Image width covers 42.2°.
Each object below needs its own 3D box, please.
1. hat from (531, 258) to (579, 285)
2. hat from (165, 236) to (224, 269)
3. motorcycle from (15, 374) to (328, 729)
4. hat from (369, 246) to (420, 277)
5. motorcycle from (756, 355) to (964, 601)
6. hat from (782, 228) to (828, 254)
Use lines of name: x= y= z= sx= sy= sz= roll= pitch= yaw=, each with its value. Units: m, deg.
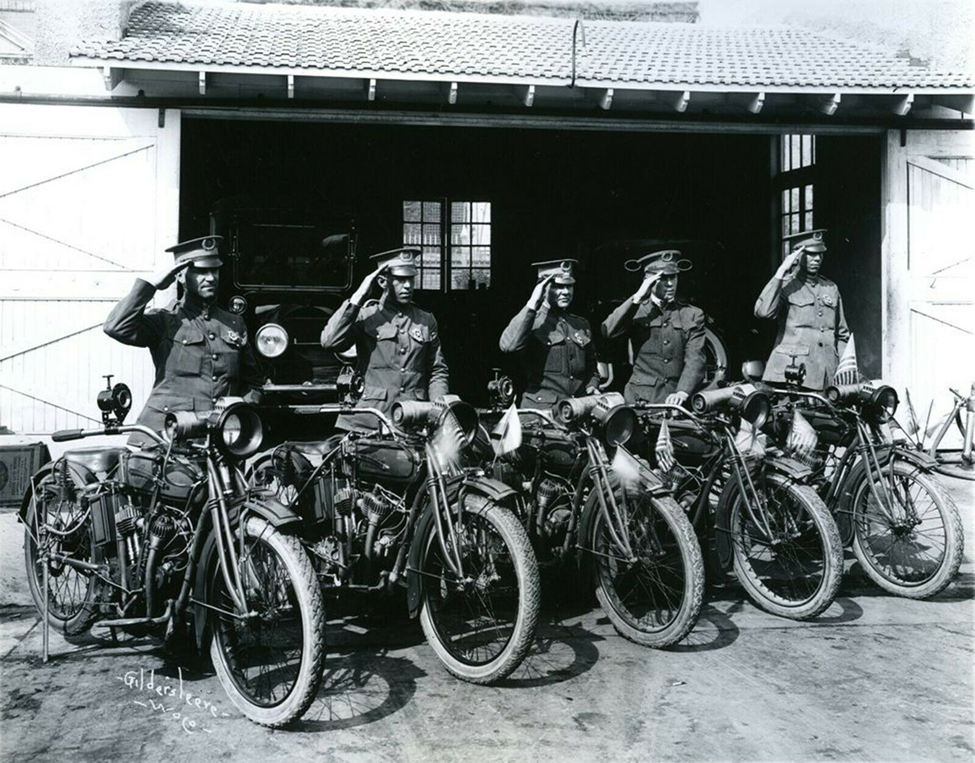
hat: x=0.545 y=-0.715 z=8.323 sx=0.248 sy=0.162 sz=0.364 roll=2 pitch=6 yaw=0
hat: x=-1.844 y=-0.781 z=7.703 sx=0.327 sy=0.187 sz=0.288 roll=-1 pitch=6 yaw=-20
motorcycle: x=-1.807 y=0.886 z=6.981 sx=2.243 sy=1.672 sz=0.603 roll=5 pitch=6 yaw=27
hat: x=-0.565 y=-0.750 z=8.057 sx=0.268 sy=0.175 sz=0.311 roll=-1 pitch=4 yaw=-33
motorcycle: x=2.871 y=0.695 z=8.336 sx=0.850 sy=1.202 sz=1.902 roll=4 pitch=3 yaw=-32
hat: x=2.503 y=-0.996 z=9.166 sx=0.307 sy=0.192 sz=0.360 roll=-5 pitch=12 yaw=-31
